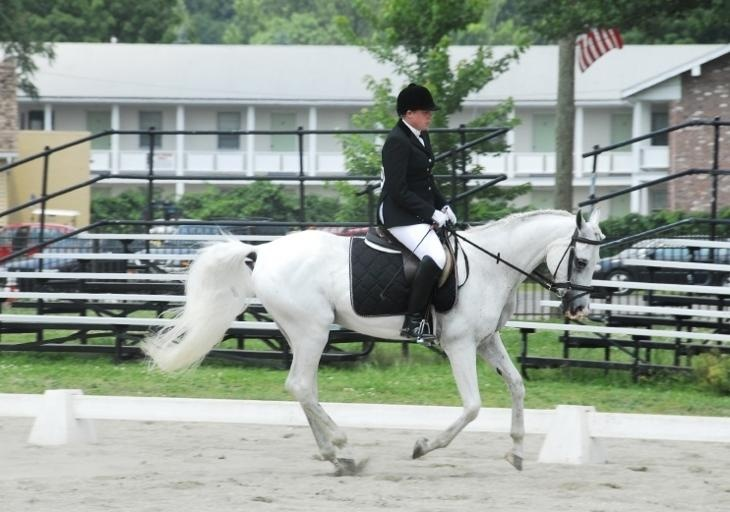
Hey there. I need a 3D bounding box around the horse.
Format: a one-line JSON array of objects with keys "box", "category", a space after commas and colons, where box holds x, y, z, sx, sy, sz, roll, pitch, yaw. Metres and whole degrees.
[{"box": [0.405, 1.855, 35.799, 11.447, 5.549, 2.545, 2, -1, 29], "category": "horse"}]

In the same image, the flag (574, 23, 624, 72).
[{"box": [6.720, -5.991, 48.296, 0.858, 1.279, 1.219, -8, 12, -29], "category": "flag"}]
